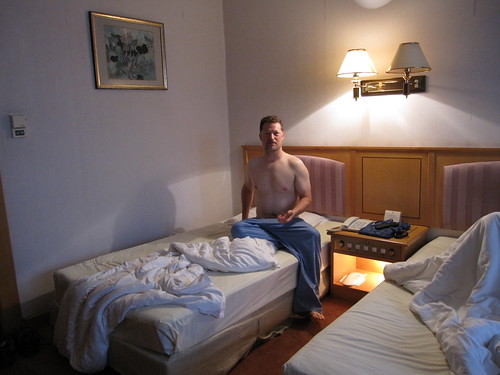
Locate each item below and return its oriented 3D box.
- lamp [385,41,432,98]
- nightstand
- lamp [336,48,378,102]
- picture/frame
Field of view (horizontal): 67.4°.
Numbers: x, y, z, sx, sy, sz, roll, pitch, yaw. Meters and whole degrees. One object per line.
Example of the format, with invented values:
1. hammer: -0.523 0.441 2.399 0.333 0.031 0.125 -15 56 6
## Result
1. lamp: 1.335 -0.994 3.209 0.281 0.447 0.310 -8 10 -41
2. nightstand: 1.102 0.694 3.435 0.615 0.641 0.563 8 13 30
3. lamp: 0.950 -1.035 3.539 0.414 0.511 0.426 -5 15 -9
4. picture/frame: -1.219 -1.336 3.663 0.055 0.714 0.790 3 10 39
